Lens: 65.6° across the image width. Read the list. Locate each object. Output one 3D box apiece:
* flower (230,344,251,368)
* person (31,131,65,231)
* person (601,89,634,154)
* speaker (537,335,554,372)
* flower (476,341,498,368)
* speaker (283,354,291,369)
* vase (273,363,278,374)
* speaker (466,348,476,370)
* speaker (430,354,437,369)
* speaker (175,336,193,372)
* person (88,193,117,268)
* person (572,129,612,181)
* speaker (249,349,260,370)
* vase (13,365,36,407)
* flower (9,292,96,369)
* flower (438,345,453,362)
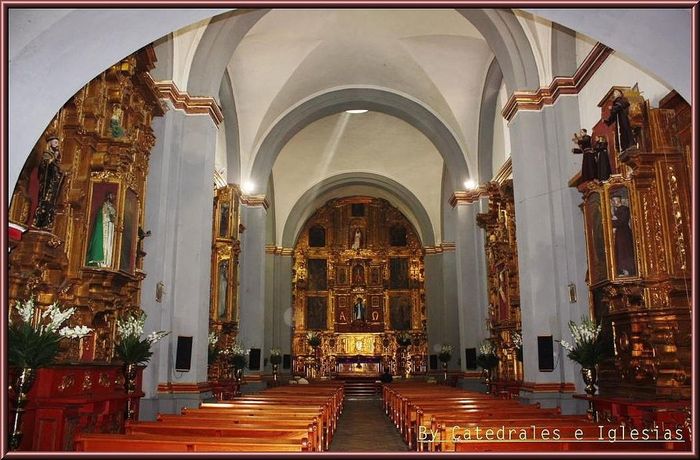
[{"bbox_3d":[-3.245,3.764,16.131,0.622,0.656,0.661,6,-2,6],"label":"flower"},{"bbox_3d":[-4.644,-0.776,8.435,0.387,1.635,0.981,7,-18,-31],"label":"person"},{"bbox_3d":[4.553,-1.779,9.169,0.358,1.079,0.714,-8,-16,20],"label":"person"},{"bbox_3d":[3.926,2.495,10.880,0.338,0.693,0.202,-7,-16,17],"label":"speaker"},{"bbox_3d":[4.000,3.630,15.568,0.564,0.718,0.578,1,-15,-12],"label":"flower"},{"bbox_3d":[-2.881,6.073,24.800,0.545,0.496,0.545,6,-1,-11],"label":"speaker"},{"bbox_3d":[-3.093,5.723,22.324,0.126,0.356,0.433,3,-16,-17],"label":"vase"},{"bbox_3d":[3.835,4.077,17.125,0.368,0.676,0.320,-5,-15,10],"label":"speaker"},{"bbox_3d":[3.783,5.996,24.532,0.335,0.663,0.309,-3,-15,2],"label":"speaker"},{"bbox_3d":[-3.295,2.472,10.788,0.329,0.690,0.323,2,-16,-15],"label":"speaker"},{"bbox_3d":[-4.121,-0.015,9.232,0.383,1.275,0.469,0,-11,4],"label":"person"},{"bbox_3d":[4.458,-1.308,9.950,0.513,1.141,1.045,-6,-16,14],"label":"person"},{"bbox_3d":[-2.957,4.034,16.866,0.353,0.711,0.412,0,-15,-8],"label":"speaker"},{"bbox_3d":[-3.721,1.800,6.206,0.181,0.443,0.158,7,-18,-30],"label":"vase"},{"bbox_3d":[-4.100,1.354,7.431,0.866,0.812,0.890,19,-41,-41],"label":"flower"},{"bbox_3d":[3.763,4.878,21.326,0.496,0.632,1.182,-5,-15,10],"label":"flower"}]
